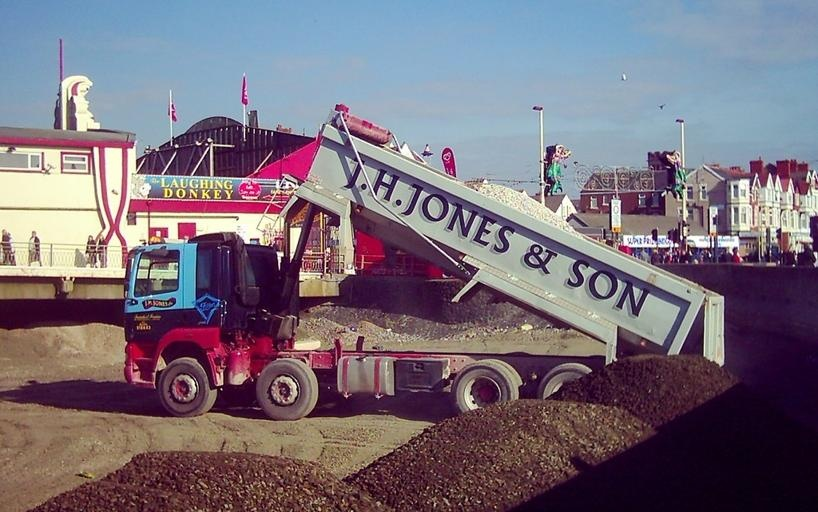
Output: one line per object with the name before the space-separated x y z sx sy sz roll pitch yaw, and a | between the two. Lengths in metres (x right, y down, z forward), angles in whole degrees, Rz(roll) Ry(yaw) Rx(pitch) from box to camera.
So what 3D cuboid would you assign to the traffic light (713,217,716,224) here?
traffic light | 21.268 -2.554 69.183 0.125 0.503 0.530 3 6 7
